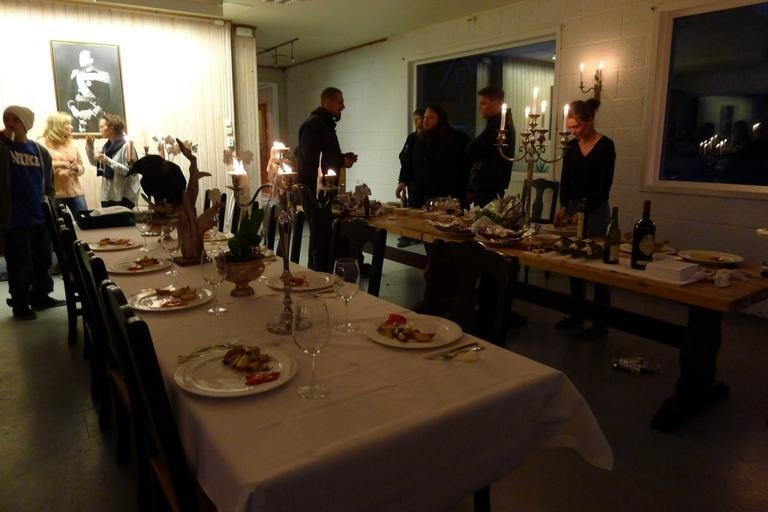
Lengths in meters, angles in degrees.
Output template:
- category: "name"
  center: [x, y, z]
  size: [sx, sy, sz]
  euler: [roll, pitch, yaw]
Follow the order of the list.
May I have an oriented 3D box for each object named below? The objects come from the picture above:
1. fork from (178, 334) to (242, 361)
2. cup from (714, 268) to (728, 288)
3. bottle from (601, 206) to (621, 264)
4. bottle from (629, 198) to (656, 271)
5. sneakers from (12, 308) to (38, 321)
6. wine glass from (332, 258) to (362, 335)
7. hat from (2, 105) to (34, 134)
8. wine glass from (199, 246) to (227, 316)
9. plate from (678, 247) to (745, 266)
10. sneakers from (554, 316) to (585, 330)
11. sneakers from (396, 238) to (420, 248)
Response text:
- category: "fork"
  center: [-0.811, 0.432, 2.536]
  size: [0.200, 0.030, 0.022]
  euler: [-17, -8, -29]
- category: "cup"
  center: [1.965, 0.130, 3.170]
  size: [0.080, 0.045, 0.106]
  euler: [-20, 42, 35]
- category: "bottle"
  center: [1.479, -0.157, 3.526]
  size: [0.105, 0.341, 0.338]
  euler: [5, 16, 22]
- category: "bottle"
  center: [1.609, -0.150, 3.364]
  size: [0.129, 0.424, 0.370]
  euler: [6, 17, 25]
- category: "sneakers"
  center: [-3.285, 0.519, 4.976]
  size: [0.182, 0.104, 0.193]
  euler: [-10, 18, -31]
- category: "wine glass"
  center: [-0.190, 0.173, 2.754]
  size: [0.116, 0.351, 0.297]
  euler: [-2, 15, -4]
- category: "hat"
  center: [-3.363, -1.272, 5.025]
  size: [0.193, 0.225, 0.465]
  euler: [-8, 17, -25]
- category: "wine glass"
  center: [-0.909, 0.116, 2.920]
  size: [0.109, 0.324, 0.349]
  euler: [-6, 16, -17]
- category: "plate"
  center: [2.079, 0.016, 3.483]
  size: [0.361, 0.049, 0.292]
  euler: [9, 18, 31]
- category: "sneakers"
  center: [1.632, 0.583, 4.805]
  size: [0.315, 0.127, 0.116]
  euler: [2, -1, -19]
- category: "sneakers"
  center: [0.306, -0.180, 7.487]
  size: [0.116, 0.181, 0.367]
  euler: [2, 4, 39]
